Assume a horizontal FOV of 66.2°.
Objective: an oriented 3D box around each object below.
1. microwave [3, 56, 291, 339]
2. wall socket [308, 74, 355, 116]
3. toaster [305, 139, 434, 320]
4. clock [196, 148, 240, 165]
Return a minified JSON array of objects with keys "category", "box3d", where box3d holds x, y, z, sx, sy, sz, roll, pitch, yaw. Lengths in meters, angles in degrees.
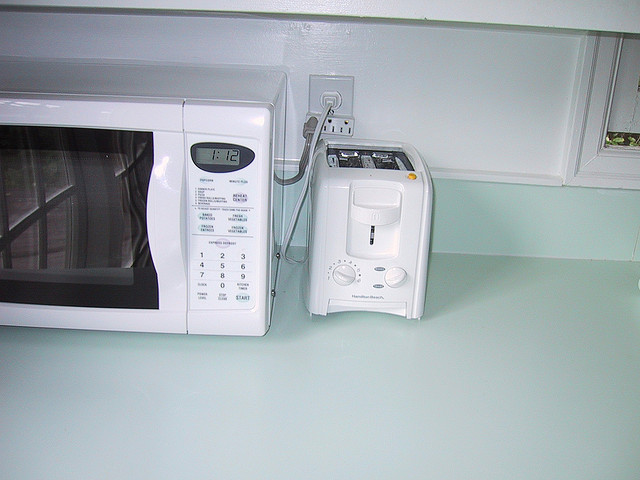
[{"category":"microwave","box3d":[-0.257,-0.046,1.020,0.660,0.504,0.406,3,12,0]},{"category":"wall socket","box3d":[0.024,-0.332,1.129,0.106,0.090,0.014,-1,9,-1]},{"category":"toaster","box3d":[0.094,-0.041,1.037,0.238,0.295,0.339,1,32,0]},{"category":"clock","box3d":[-0.164,-0.134,0.785,0.068,0.026,0.006,-1,9,2]}]
